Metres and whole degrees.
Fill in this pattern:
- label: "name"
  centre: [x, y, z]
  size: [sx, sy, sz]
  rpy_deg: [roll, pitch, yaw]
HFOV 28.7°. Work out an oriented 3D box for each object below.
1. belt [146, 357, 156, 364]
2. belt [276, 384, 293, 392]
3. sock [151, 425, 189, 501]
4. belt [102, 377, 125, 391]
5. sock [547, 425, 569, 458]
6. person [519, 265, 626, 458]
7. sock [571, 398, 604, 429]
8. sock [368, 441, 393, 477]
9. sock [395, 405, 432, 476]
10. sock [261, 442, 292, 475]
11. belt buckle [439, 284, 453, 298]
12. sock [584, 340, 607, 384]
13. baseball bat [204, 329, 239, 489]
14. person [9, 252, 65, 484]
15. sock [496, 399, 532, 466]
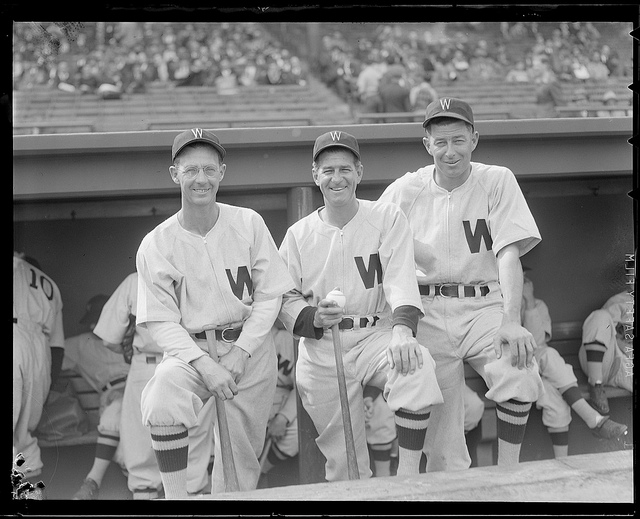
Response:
- label: "belt"
  centre: [-1.141, 0.687, 8.438]
  size: [0.053, 0.051, 0.004]
  rpy_deg: [-7, -15, 12]
- label: "belt"
  centre: [-0.249, 0.884, 8.632]
  size: [0.061, 0.050, 0.081]
  rpy_deg: [22, 8, -45]
- label: "sock"
  centre: [-0.860, 1.166, 7.243]
  size: [0.178, 0.578, 0.181]
  rpy_deg: [-2, 27, 1]
- label: "belt"
  centre: [-1.435, 0.868, 8.668]
  size: [0.191, 0.073, 0.043]
  rpy_deg: [-15, -18, 37]
- label: "sock"
  centre: [1.671, 1.287, 8.811]
  size: [0.148, 0.232, 0.287]
  rpy_deg: [-7, -15, 10]
- label: "person"
  centre: [1.768, 0.681, 9.036]
  size: [0.563, 1.489, 0.671]
  rpy_deg: [-6, -14, 9]
- label: "sock"
  centre: [1.829, 1.064, 8.741]
  size: [0.138, 0.099, 0.322]
  rpy_deg: [44, -1, -14]
- label: "sock"
  centre: [0.414, 1.373, 8.543]
  size: [0.158, 0.229, 0.174]
  rpy_deg: [-5, -14, 3]
- label: "sock"
  centre: [0.538, 1.069, 7.288]
  size: [0.225, 0.388, 0.232]
  rpy_deg: [-5, -14, 4]
- label: "sock"
  centre: [-0.316, 1.376, 8.604]
  size: [0.175, 0.194, 0.230]
  rpy_deg: [-1, -15, -13]
- label: "belt buckle"
  centre: [0.750, 0.199, 7.656]
  size: [0.076, 0.075, 0.021]
  rpy_deg: [4, 2, 17]
- label: "sock"
  centre: [1.979, 0.748, 9.052]
  size: [0.158, 0.311, 0.148]
  rpy_deg: [-11, -16, 23]
- label: "baseball bat"
  centre: [-0.589, 0.877, 7.315]
  size: [0.117, 0.934, 0.188]
  rpy_deg: [-7, -15, 11]
- label: "person"
  centre: [-1.870, 0.695, 8.267]
  size: [0.239, 1.499, 0.714]
  rpy_deg: [-5, -14, 4]
- label: "sock"
  centre: [1.104, 1.029, 7.374]
  size: [0.163, 0.370, 0.305]
  rpy_deg: [3, -16, -26]
